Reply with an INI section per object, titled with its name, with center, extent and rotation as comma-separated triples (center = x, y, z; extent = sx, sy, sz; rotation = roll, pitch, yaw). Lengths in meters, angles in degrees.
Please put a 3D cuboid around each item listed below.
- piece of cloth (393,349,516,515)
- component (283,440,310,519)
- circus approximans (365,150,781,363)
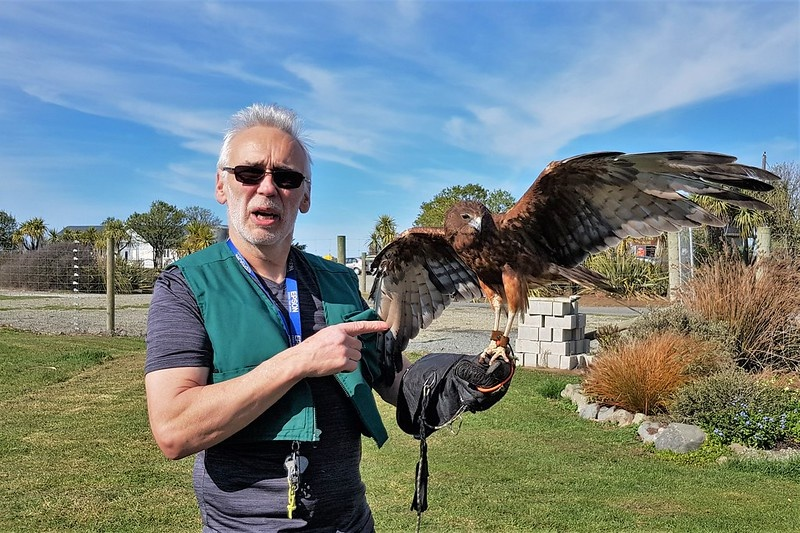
[piece of cloth]
center = 0.406, 1.514, 6.448
extent = 1.294, 1.821, 1.424
rotation = 3, -13, 16
[component]
center = -0.834, 1.718, 5.243
extent = 0.189, 0.591, 0.165
rotation = -5, 13, -30
[circus approximans]
center = 1.585, -0.394, 7.050
extent = 4.175, 1.635, 2.067
rotation = -21, -14, 36
